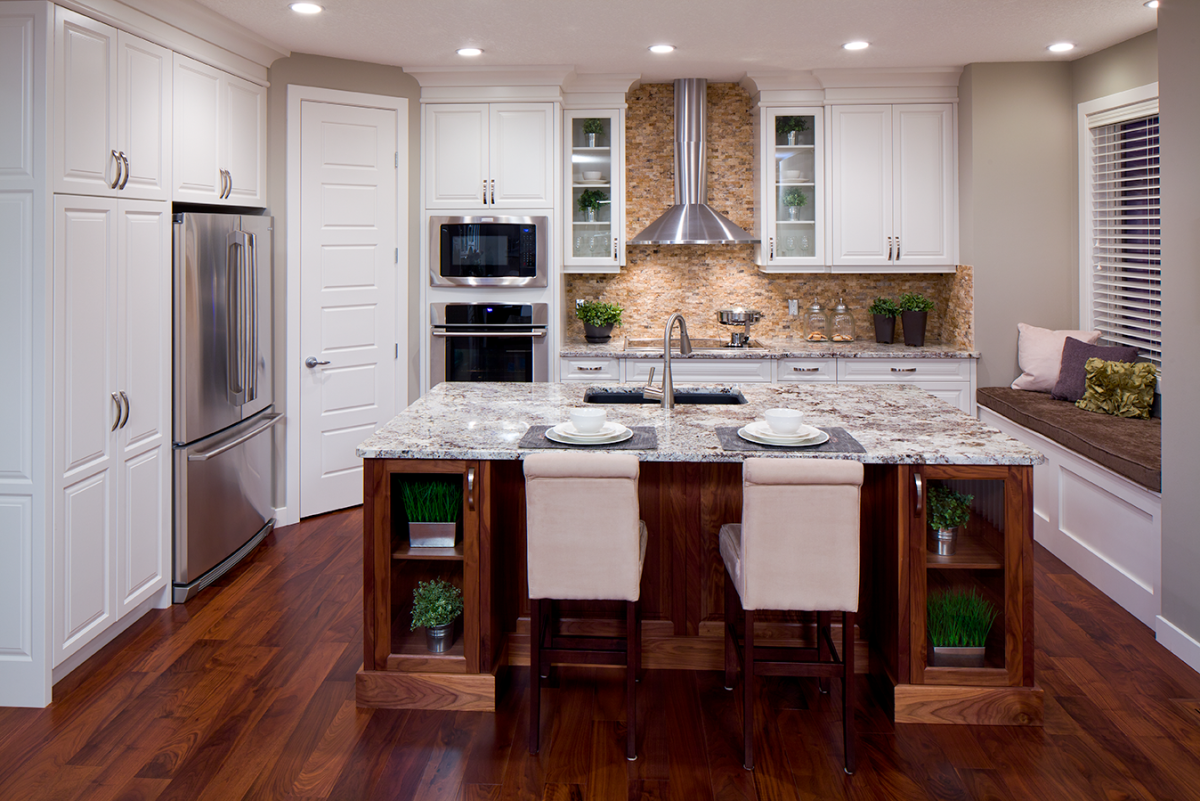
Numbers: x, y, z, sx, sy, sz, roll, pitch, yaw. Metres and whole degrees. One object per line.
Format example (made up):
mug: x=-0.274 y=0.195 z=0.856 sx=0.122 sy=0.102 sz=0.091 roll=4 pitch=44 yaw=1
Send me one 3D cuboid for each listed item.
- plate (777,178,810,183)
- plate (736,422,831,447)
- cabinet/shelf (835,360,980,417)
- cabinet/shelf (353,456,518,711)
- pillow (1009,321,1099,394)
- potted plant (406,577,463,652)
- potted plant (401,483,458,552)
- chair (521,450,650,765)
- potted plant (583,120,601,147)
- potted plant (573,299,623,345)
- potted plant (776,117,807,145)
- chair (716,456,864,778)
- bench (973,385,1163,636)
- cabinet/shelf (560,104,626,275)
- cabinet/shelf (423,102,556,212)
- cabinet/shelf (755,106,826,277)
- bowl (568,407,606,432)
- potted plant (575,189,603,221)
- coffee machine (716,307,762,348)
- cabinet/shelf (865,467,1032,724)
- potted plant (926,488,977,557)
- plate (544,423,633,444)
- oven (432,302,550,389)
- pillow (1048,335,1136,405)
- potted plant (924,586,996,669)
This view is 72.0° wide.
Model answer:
plate: x=1.522 y=-1.768 z=6.584 sx=0.210 sy=0.055 sz=0.042 roll=2 pitch=15 yaw=10
plate: x=0.817 y=0.148 z=3.689 sx=0.383 sy=0.052 sz=0.227 roll=1 pitch=15 yaw=7
cabinet/shelf: x=2.448 y=-0.276 z=6.502 sx=0.821 sy=0.709 sz=0.480 roll=1 pitch=3 yaw=3
cabinet/shelf: x=-0.747 y=0.797 z=3.818 sx=0.775 sy=1.131 sz=0.534 roll=-2 pitch=15 yaw=-5
pillow: x=3.277 y=-0.316 z=6.213 sx=0.533 sy=0.425 sz=0.256 roll=-2 pitch=28 yaw=-26
potted plant: x=-0.707 y=0.980 z=3.873 sx=0.333 sy=0.316 sz=0.298 roll=0 pitch=-1 yaw=-6
potted plant: x=-0.793 y=0.533 z=3.855 sx=0.315 sy=0.308 sz=0.231 roll=5 pitch=-15 yaw=-28
chair: x=-0.058 y=0.786 z=3.618 sx=0.509 sy=1.249 sz=0.742 roll=0 pitch=15 yaw=2
potted plant: x=-0.060 y=-2.140 z=6.564 sx=0.111 sy=0.207 sz=0.044 roll=-2 pitch=15 yaw=-5
potted plant: x=-0.024 y=-0.667 z=6.827 sx=0.406 sy=0.365 sz=0.366 roll=3 pitch=6 yaw=23
potted plant: x=1.528 y=-2.156 z=6.647 sx=0.248 sy=0.185 sz=0.224 roll=0 pitch=8 yaw=-2
chair: x=0.817 y=0.807 z=3.549 sx=0.600 sy=1.247 sz=0.756 roll=1 pitch=15 yaw=6
bench: x=2.570 y=0.630 z=4.476 sx=0.409 sy=0.459 sz=1.329 roll=1 pitch=8 yaw=5
cabinet/shelf: x=-0.054 y=-1.706 z=6.594 sx=0.496 sy=1.273 sz=0.273 roll=-2 pitch=15 yaw=-4
cabinet/shelf: x=-0.862 y=-1.928 z=6.347 sx=0.886 sy=0.709 sz=0.356 roll=0 pitch=1 yaw=0
cabinet/shelf: x=1.531 y=-1.701 z=6.586 sx=0.495 sy=1.266 sz=0.266 roll=0 pitch=15 yaw=1
bowl: x=-0.061 y=0.072 z=3.762 sx=0.122 sy=0.066 sz=0.114 roll=6 pitch=9 yaw=-1
potted plant: x=-0.073 y=-1.600 z=6.721 sx=0.221 sy=0.215 sz=0.218 roll=-1 pitch=3 yaw=-7
coffee machine: x=1.112 y=-0.579 z=6.656 sx=0.358 sy=0.287 sz=0.345 roll=1 pitch=1 yaw=-2
cabinet/shelf: x=1.573 y=0.805 z=3.731 sx=0.665 sy=1.135 sz=0.541 roll=-1 pitch=15 yaw=0
potted plant: x=1.528 y=0.547 z=3.746 sx=0.249 sy=0.289 sz=0.281 roll=-1 pitch=-17 yaw=8
plate: x=-0.056 y=0.135 z=3.777 sx=0.404 sy=0.052 sz=0.272 roll=0 pitch=15 yaw=1
oven: x=-0.831 y=-0.409 z=6.685 sx=0.899 sy=0.830 sz=0.636 roll=0 pitch=-2 yaw=1
pillow: x=3.403 y=-0.220 z=5.801 sx=0.213 sy=0.441 sz=0.456 roll=15 pitch=-2 yaw=-35
potted plant: x=1.581 y=1.027 z=3.776 sx=0.351 sy=0.340 sz=0.242 roll=0 pitch=-6 yaw=5
